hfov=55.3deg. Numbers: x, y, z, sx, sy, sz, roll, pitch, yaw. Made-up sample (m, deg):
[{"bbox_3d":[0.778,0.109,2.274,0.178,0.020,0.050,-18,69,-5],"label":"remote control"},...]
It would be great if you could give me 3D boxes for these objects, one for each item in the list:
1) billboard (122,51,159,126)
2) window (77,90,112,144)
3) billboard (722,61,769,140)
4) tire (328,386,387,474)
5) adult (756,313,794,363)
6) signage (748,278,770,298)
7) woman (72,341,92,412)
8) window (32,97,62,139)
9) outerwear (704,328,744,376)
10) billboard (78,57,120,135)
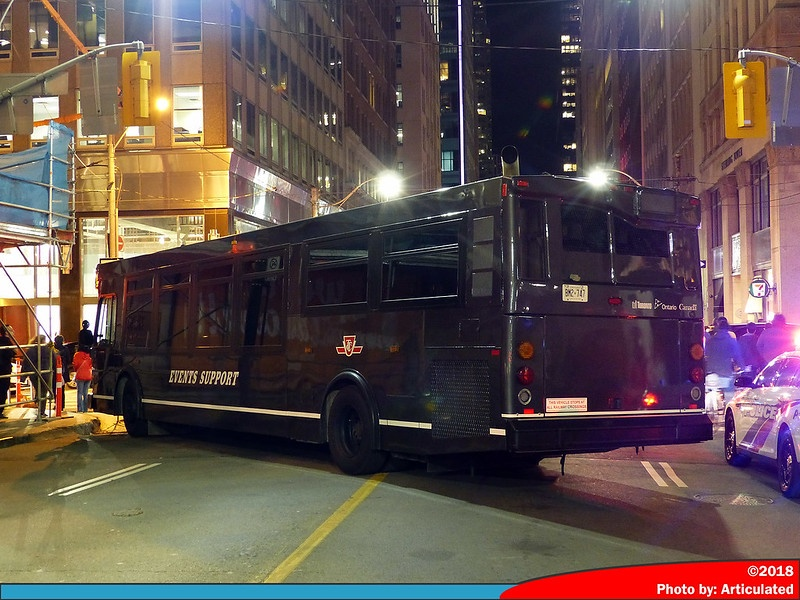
[{"bbox_3d":[-5.961,-4.912,17.545,1.031,1.808,0.444,-1,-2,21],"label":"billboard"},{"bbox_3d":[-6.886,-4.354,17.471,0.886,1.260,0.156,-16,45,-32],"label":"window"},{"bbox_3d":[7.934,-4.623,17.550,0.853,1.766,0.706,-1,-2,22],"label":"billboard"},{"bbox_3d":[-0.620,1.967,11.638,0.430,1.477,1.259,2,-5,-38],"label":"tire"},{"bbox_3d":[8.010,0.802,16.307,0.553,1.438,0.404,15,7,26],"label":"adult"},{"bbox_3d":[17.166,-0.590,36.424,0.785,0.990,0.235,8,28,31],"label":"signage"},{"bbox_3d":[-8.886,2.173,21.305,0.568,2.008,0.608,-8,-11,24],"label":"woman"},{"bbox_3d":[-17.181,-8.826,37.176,1.047,2.011,2.374,1,-3,-28],"label":"window"},{"bbox_3d":[7.034,1.240,16.654,0.873,1.073,0.500,-2,-18,32],"label":"outerwear"},{"bbox_3d":[-6.914,-4.688,17.465,0.897,2.004,0.202,-7,-12,-13],"label":"billboard"}]
